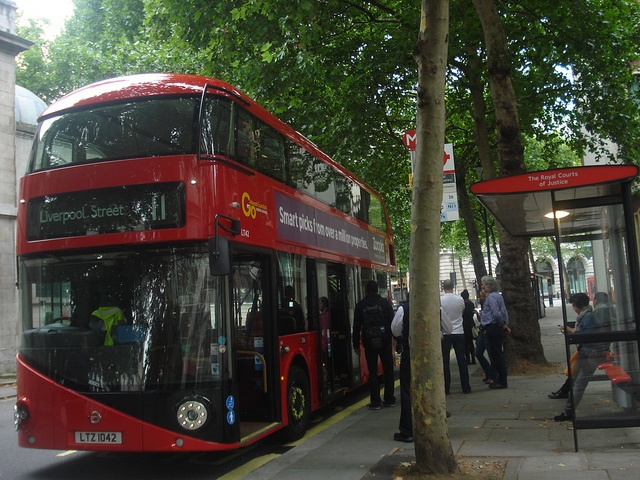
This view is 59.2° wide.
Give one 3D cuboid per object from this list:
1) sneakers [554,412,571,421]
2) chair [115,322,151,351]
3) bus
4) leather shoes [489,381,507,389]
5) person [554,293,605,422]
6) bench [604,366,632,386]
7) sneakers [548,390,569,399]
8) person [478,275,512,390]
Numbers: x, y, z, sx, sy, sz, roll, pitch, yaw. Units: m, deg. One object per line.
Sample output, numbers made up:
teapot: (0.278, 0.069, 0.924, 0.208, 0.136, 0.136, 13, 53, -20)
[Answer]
sneakers: (3.756, 2.783, 8.807, 0.287, 0.130, 0.109, 5, -9, -9)
chair: (-2.458, 1.236, 7.377, 0.413, 0.288, 0.239, 0, -7, 2)
bus: (-1.533, 0.374, 8.613, 2.412, 5.753, 5.063, -6, -4, 44)
leather shoes: (3.788, 3.108, 11.991, 0.330, 0.149, 0.124, 11, -13, -26)
person: (3.750, 1.699, 8.030, 0.600, 1.416, 0.969, -5, -3, 23)
bench: (4.054, 1.865, 7.661, 0.170, 0.084, 0.305, -8, 9, 2)
sneakers: (4.392, 2.865, 10.378, 0.374, 0.172, 0.132, 3, -4, 3)
person: (3.838, 2.007, 12.351, 0.583, 1.613, 1.055, -4, -3, 18)
